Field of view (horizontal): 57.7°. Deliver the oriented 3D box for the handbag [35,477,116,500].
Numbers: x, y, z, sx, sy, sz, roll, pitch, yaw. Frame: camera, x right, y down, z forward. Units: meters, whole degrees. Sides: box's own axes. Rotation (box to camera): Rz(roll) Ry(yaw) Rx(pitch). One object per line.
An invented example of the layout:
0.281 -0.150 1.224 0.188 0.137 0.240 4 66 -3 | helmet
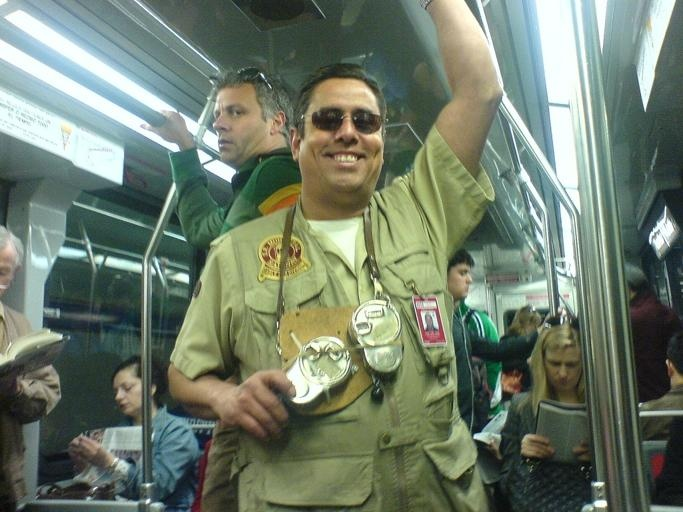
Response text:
-1.171 1.035 2.725 0.219 0.075 0.139 7 -34 2 | handbag
